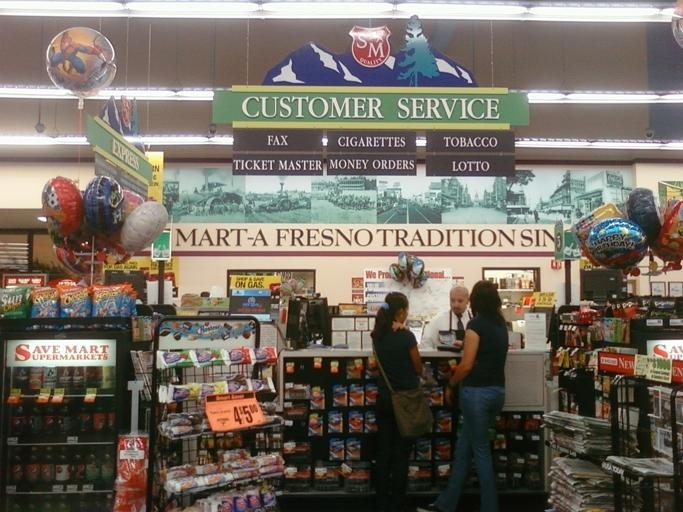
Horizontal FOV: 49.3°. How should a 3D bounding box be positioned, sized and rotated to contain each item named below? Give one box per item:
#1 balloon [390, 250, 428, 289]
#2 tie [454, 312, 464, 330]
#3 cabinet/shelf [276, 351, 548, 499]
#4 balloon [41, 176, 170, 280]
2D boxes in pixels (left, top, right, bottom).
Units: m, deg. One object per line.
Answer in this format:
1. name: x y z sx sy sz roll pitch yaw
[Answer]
1. balloon: 0.869 0.187 9.632 0.439 0.343 0.453 2 -9 4
2. tie: 1.417 0.793 8.885 0.064 0.252 0.061 -6 -13 9
3. cabinet/shelf: 0.821 1.818 8.659 2.969 1.801 1.035 -1 11 6
4. balloon: -2.525 -0.281 7.877 1.172 1.109 0.692 -1 -3 -23
